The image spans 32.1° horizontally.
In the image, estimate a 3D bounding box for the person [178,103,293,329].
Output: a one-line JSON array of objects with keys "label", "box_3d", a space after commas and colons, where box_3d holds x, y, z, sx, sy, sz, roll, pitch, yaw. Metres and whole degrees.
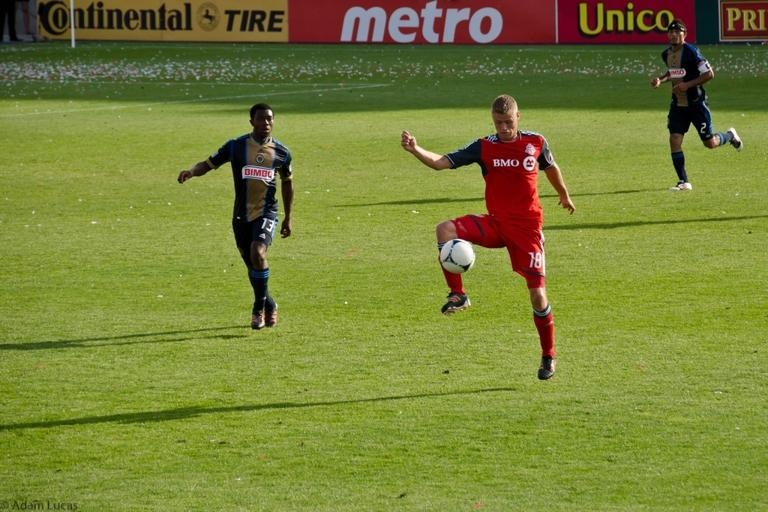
[{"label": "person", "box_3d": [-1.564, -0.464, 15.412, 1.065, 2.548, 0.720, -4, 10, -8]}]

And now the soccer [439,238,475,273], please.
[{"label": "soccer", "box_3d": [0.791, -0.006, 14.696, 0.415, 0.338, 0.389, 1, -6, 26]}]

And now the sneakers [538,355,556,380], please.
[{"label": "sneakers", "box_3d": [1.731, 1.164, 14.186, 0.172, 0.260, 0.374, -1, 9, 9]}]

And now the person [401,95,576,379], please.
[{"label": "person", "box_3d": [1.231, -0.224, 14.352, 1.365, 2.971, 1.093, -1, 10, 7]}]

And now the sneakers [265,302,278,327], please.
[{"label": "sneakers", "box_3d": [-1.305, 0.675, 15.442, 0.109, 0.260, 0.125, -2, 1, 5]}]

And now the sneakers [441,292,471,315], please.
[{"label": "sneakers", "box_3d": [0.788, 0.516, 14.795, 0.168, 0.162, 0.415, -8, -2, 38]}]

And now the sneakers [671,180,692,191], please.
[{"label": "sneakers", "box_3d": [4.659, -1.102, 20.879, 0.388, 0.141, 0.117, 0, 6, 8]}]

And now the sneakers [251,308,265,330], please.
[{"label": "sneakers", "box_3d": [-1.451, 0.719, 15.351, 0.244, 0.253, 0.639, 1, -4, -5]}]
